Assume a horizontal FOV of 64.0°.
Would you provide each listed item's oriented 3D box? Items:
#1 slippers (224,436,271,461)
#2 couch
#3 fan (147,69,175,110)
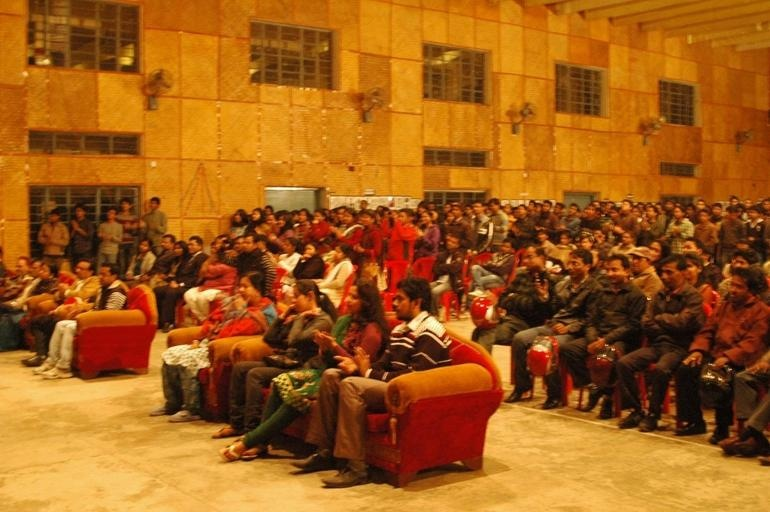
[{"bbox_3d":[-1.325,1.812,5.762,0.527,0.142,0.162,11,-12,-31],"label":"slippers"},{"bbox_3d":[-0.516,1.420,6.092,2.893,1.136,1.425,-4,-9,35],"label":"couch"},{"bbox_3d":[-5.477,-3.989,14.654,0.647,0.978,0.194,-3,8,-15],"label":"fan"}]
